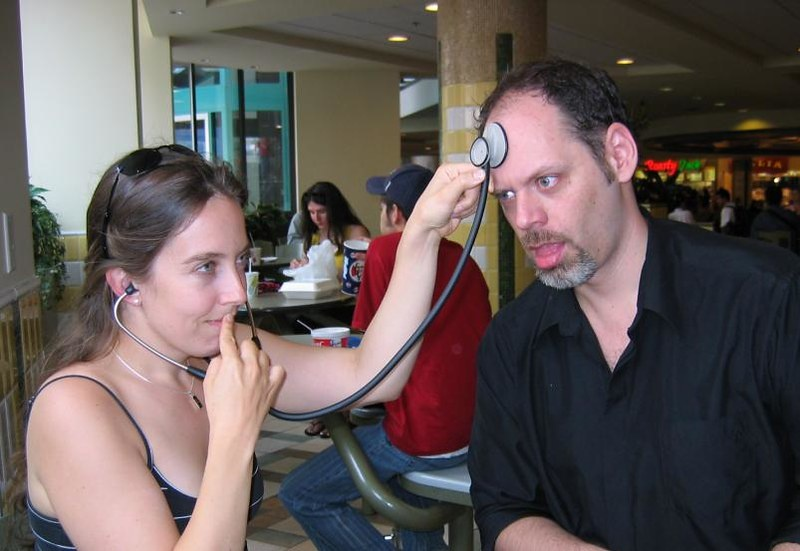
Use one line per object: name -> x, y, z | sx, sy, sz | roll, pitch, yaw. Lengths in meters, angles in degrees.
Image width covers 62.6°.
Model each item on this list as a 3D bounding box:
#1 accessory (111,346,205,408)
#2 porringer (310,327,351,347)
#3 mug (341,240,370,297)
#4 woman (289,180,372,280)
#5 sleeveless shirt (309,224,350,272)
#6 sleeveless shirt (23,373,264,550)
accessory -> -0.670, 0.306, 1.880 | 0.295, 0.108, 0.053 | 30, -41, -24
porringer -> -0.286, 0.231, 2.651 | 0.096, 0.063, 0.098 | 1, 4, 24
mug -> -0.269, -0.030, 3.871 | 0.174, 0.276, 0.169 | 7, 6, -11
woman -> -0.573, -0.324, 4.999 | 0.616, 0.697, 0.466 | 2, 0, 7
sleeveless shirt -> -0.467, -0.181, 4.430 | 0.282, 0.324, 0.171 | 15, 11, 32
sleeveless shirt -> -0.671, 0.495, 1.717 | 0.606, 0.484, 0.233 | -3, 9, -17
